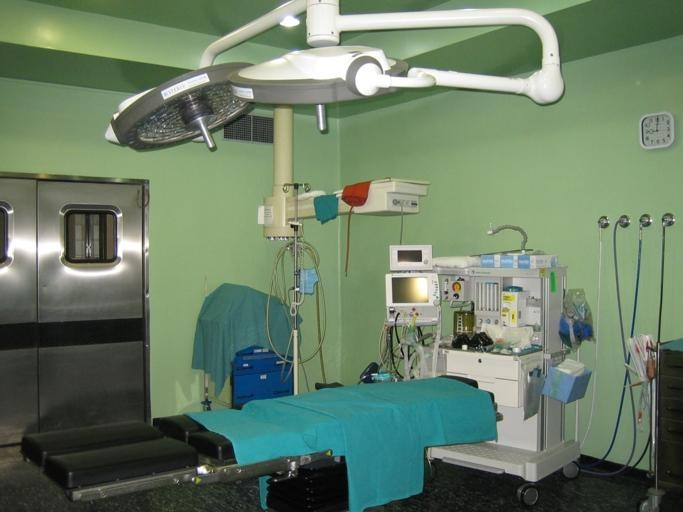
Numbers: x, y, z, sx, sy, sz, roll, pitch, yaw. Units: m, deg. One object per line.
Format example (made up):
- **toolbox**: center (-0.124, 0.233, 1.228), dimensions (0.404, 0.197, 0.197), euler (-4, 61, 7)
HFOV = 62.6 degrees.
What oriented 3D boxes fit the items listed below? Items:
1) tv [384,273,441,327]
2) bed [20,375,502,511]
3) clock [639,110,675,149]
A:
- **tv**: center (0.614, 0.323, 4.894), dimensions (0.435, 0.443, 0.364), euler (-1, 31, 10)
- **bed**: center (-0.325, 0.995, 3.204), dimensions (2.592, 0.638, 1.026), euler (1, -1, -29)
- **clock**: center (2.365, -0.946, 4.216), dimensions (0.224, 0.245, 0.046), euler (4, 11, 31)
